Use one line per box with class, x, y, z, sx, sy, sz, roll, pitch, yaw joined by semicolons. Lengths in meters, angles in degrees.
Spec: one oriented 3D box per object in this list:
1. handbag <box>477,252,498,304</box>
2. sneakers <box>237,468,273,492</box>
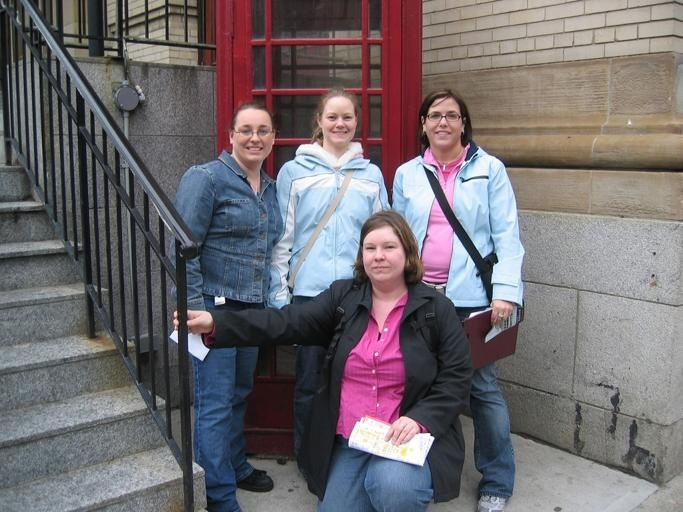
handbag;0.771;0.098;3.137;0.064;0.212;0.164;-4;-17;17
sneakers;-0.495;1.288;3.417;0.184;0.085;0.101;-1;7;7
